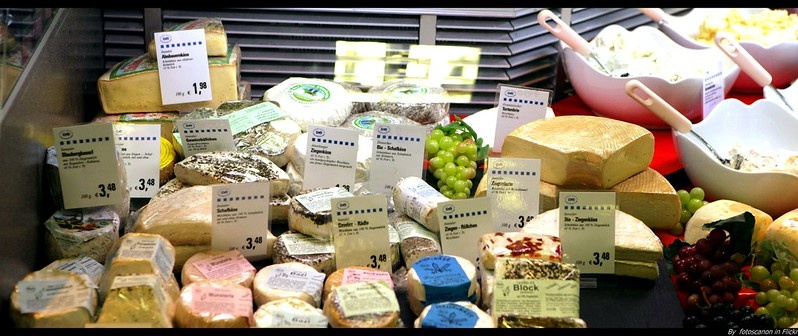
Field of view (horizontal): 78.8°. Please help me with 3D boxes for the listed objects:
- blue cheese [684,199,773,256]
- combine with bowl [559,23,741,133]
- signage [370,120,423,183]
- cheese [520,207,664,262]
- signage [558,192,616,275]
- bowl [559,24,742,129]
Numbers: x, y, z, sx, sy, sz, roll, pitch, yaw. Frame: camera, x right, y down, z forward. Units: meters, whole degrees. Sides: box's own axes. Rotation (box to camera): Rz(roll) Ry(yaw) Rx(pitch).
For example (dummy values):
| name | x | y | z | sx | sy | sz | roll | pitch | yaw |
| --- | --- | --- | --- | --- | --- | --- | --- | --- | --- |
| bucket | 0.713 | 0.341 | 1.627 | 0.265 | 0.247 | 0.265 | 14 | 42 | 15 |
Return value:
| name | x | y | z | sx | sy | sz | roll | pitch | yaw |
| --- | --- | --- | --- | --- | --- | --- | --- | --- | --- |
| blue cheese | 2.529 | 0.472 | 3.788 | 0.502 | 0.202 | 0.455 | -13 | 27 | -10 |
| combine with bowl | 2.284 | -0.767 | 4.622 | 1.451 | 0.478 | 1.345 | 17 | 27 | 34 |
| signage | -0.014 | -0.111 | 3.820 | 0.596 | 0.540 | 0.070 | 7 | 7 | -2 |
| cheese | 1.462 | 0.534 | 3.844 | 1.120 | 0.227 | 0.513 | -10 | 42 | 23 |
| signage | 1.304 | 0.449 | 3.386 | 0.382 | 0.582 | 0.092 | -2 | 14 | -3 |
| bowl | 2.277 | -0.758 | 4.584 | 1.378 | 0.473 | 1.411 | 1 | 23 | -1 |
